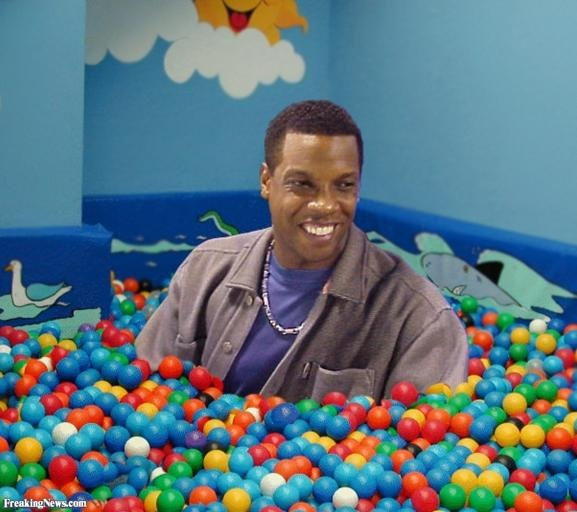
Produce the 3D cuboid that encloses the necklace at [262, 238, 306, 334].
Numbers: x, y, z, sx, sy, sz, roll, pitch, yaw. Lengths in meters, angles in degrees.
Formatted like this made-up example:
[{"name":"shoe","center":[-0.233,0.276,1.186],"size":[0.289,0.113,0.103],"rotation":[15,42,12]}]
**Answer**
[{"name":"necklace","center":[-0.046,0.120,2.103],"size":[0.135,0.268,0.043],"rotation":[-1,-11,14]}]
